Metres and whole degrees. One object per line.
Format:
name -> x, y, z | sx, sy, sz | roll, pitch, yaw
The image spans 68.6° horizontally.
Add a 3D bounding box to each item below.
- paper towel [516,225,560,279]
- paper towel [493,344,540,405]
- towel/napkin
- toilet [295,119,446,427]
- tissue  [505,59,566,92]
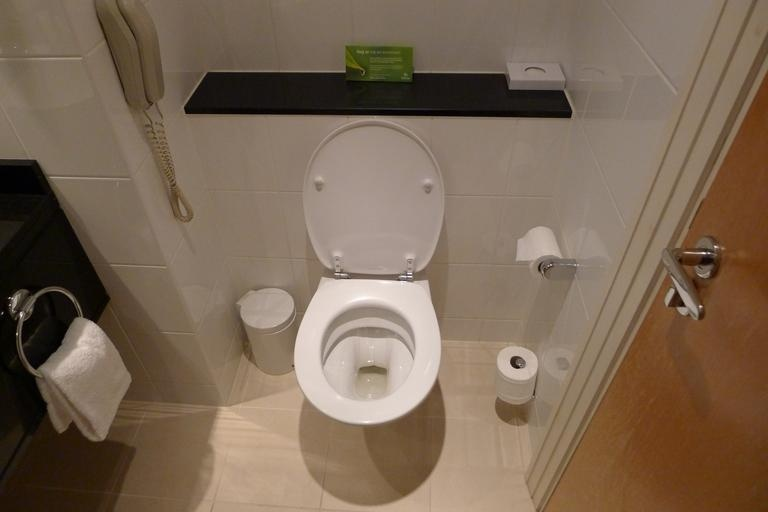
paper towel -> 0.518, -0.011, 1.881 | 0.140, 0.156, 0.125 | 0, 7, 16
paper towel -> 0.494, 0.452, 2.208 | 0.177, 0.216, 0.194 | 13, 45, 14
towel/napkin -> -0.905, 0.403, 1.771 | 0.162, 0.361, 0.312 | -2, 33, 13
toilet -> -0.047, 0.040, 1.996 | 0.484, 1.079, 0.890 | 3, 51, 3
tissue  -> 0.520, -0.626, 1.948 | 0.150, 0.038, 0.111 | 2, 56, 1
